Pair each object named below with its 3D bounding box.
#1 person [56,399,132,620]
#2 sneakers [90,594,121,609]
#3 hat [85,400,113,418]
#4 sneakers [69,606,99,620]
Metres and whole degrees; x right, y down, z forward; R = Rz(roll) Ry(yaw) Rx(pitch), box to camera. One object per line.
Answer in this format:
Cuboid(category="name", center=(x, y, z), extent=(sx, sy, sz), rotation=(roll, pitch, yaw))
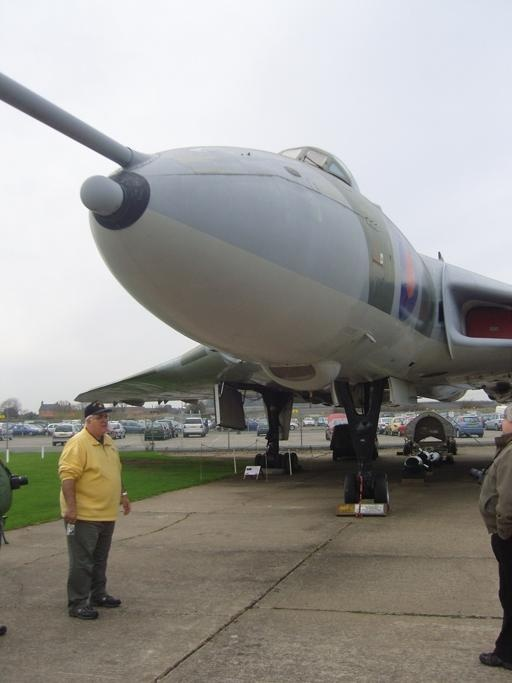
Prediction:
Cuboid(category="person", center=(-1.182, 1.177, 4.256), extent=(0.366, 1.444, 0.482), rotation=(-3, -10, 9))
Cuboid(category="sneakers", center=(-1.067, 1.853, 4.215), extent=(0.210, 0.088, 0.084), rotation=(-1, -9, 6))
Cuboid(category="hat", center=(-1.189, 0.521, 4.422), extent=(0.168, 0.080, 0.120), rotation=(-24, -21, 33))
Cuboid(category="sneakers", center=(-1.169, 1.807, 3.969), extent=(0.185, 0.078, 0.076), rotation=(-4, -6, 18))
